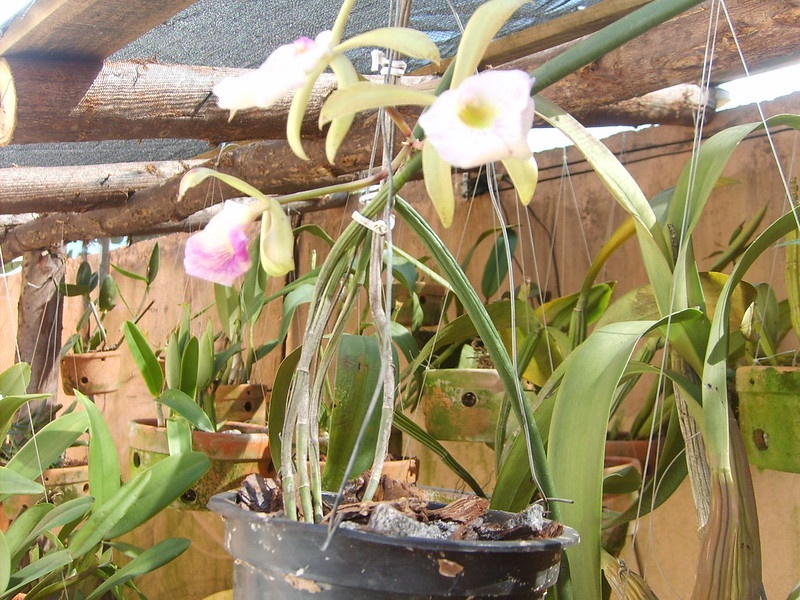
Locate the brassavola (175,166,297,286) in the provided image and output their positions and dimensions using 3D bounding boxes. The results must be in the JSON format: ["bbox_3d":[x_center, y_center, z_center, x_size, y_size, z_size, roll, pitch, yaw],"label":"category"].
[{"bbox_3d":[-0.167,-0.077,0.740,0.103,0.118,0.090,-16,14,-16],"label":"brassavola"}]

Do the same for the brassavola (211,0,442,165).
[{"bbox_3d":[-0.080,-0.205,0.743,0.189,0.153,0.154,-34,15,-11],"label":"brassavola"}]
